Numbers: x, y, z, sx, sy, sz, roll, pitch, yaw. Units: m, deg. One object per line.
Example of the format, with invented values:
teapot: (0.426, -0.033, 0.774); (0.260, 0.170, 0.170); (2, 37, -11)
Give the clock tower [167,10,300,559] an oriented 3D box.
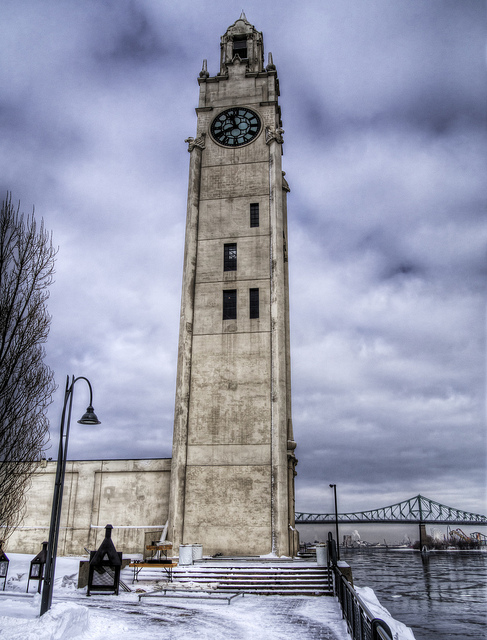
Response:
clock tower: (-0.501, -3.345, 32.509); (5.750, 31.075, 4.165); (-2, -17, 7)
